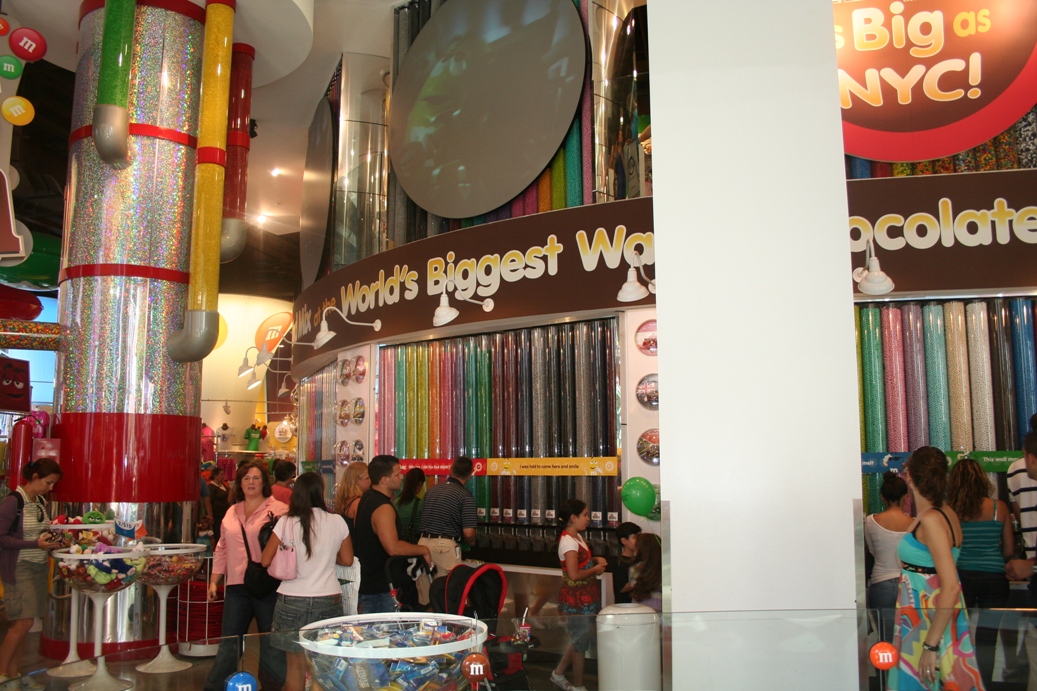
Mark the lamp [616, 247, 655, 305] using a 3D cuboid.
[{"bbox_3d":[0.857,-0.543,6.382,0.317,0.347,0.321,-13,25,-39],"label":"lamp"}]

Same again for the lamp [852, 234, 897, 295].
[{"bbox_3d":[2.566,-0.568,6.044,0.259,0.425,0.333,-5,-9,28],"label":"lamp"}]

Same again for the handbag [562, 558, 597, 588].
[{"bbox_3d":[0.405,1.516,5.542,0.203,0.091,0.210,-5,-2,31],"label":"handbag"}]
